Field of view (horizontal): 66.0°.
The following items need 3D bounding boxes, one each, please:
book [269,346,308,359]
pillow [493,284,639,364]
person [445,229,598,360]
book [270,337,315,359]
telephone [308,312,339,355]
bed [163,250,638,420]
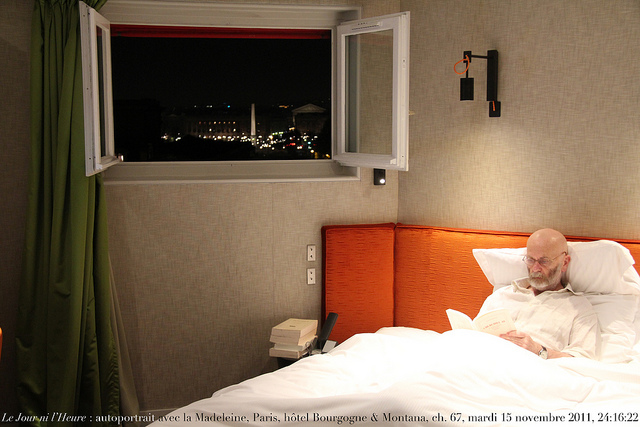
[{"bbox_3d":[-0.214,0.984,3.503,0.170,0.038,0.168,1,1,22],"label":"book"},{"bbox_3d":[1.539,0.690,3.009,0.467,0.336,0.138,5,-11,32],"label":"pillow"},{"bbox_3d":[1.393,0.495,3.178,0.810,0.541,0.815,-3,-7,32],"label":"person"},{"bbox_3d":[-0.226,0.977,3.531,0.182,0.040,0.179,-2,3,22],"label":"book"},{"bbox_3d":[0.043,0.873,3.554,0.064,0.248,0.257,22,45,2],"label":"telephone"},{"bbox_3d":[0.517,0.752,3.139,1.612,0.457,1.114,-11,8,-36],"label":"bed"}]
